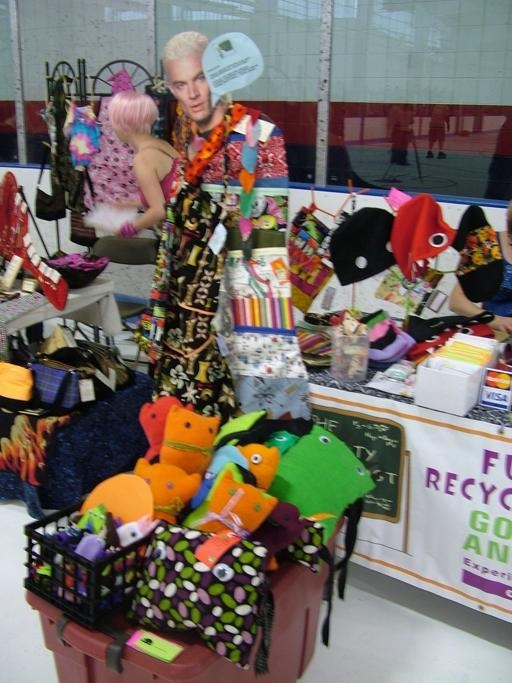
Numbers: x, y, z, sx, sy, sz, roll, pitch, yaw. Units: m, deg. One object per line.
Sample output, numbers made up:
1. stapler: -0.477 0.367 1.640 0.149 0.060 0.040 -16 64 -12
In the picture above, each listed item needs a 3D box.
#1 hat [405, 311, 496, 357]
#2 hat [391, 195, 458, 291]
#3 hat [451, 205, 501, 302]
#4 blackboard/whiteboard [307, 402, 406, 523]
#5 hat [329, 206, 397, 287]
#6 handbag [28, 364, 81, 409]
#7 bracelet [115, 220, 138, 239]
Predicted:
1. hat: 0.625 -0.036 1.642 0.193 0.064 0.191 -8 17 24
2. hat: 0.527 -0.316 1.593 0.220 0.255 0.095 4 22 7
3. hat: 0.776 -0.298 1.748 0.077 0.302 0.197 -27 27 -28
4. blackboard/whiteboard: 0.281 0.328 1.360 0.370 0.351 0.038 8 12 36
5. hat: 0.376 -0.330 1.755 0.201 0.253 0.054 4 17 13
6. handbag: -0.685 0.158 1.721 0.133 0.111 0.063 13 15 7
7. bracelet: -0.658 -0.569 2.589 0.091 0.089 0.087 8 -13 -23
